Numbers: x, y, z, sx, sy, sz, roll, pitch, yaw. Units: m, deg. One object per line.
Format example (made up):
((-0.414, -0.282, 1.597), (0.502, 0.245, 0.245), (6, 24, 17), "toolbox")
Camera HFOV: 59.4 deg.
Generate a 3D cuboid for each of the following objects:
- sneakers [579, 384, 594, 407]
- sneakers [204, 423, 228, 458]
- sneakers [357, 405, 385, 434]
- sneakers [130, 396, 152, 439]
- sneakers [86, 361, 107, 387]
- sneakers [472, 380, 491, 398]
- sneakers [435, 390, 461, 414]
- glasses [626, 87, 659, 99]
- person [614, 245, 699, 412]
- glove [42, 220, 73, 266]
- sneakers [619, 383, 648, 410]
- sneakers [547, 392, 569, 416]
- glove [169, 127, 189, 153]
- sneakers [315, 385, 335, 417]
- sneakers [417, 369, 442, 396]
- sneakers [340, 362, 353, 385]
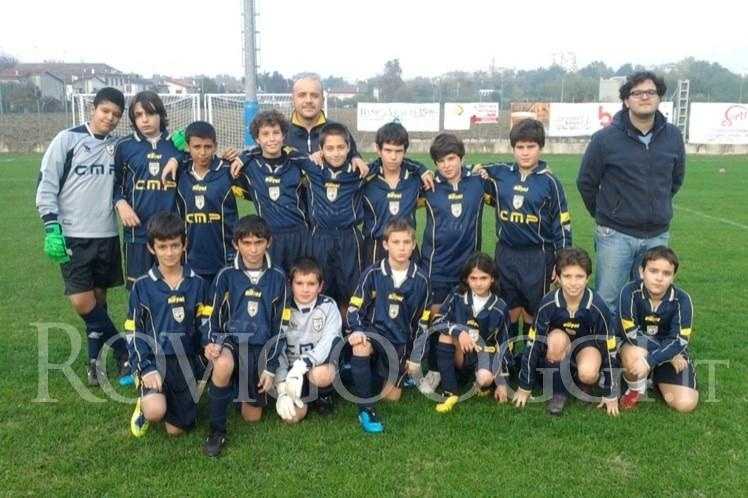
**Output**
((1.935, 1.305, 5.967), (0.152, 0.158, 0.132), (-2, 14, -4), "sneakers")
((-1.308, 1.555, 5.407), (0.160, 0.193, 0.225), (0, 14, 4), "sneakers")
((-0.035, 1.469, 5.643), (0.121, 0.116, 0.254), (-1, 2, -23), "sneakers")
((-1.971, 1.411, 5.565), (0.127, 0.148, 0.371), (16, 25, -28), "sneakers")
((-2.640, 1.185, 6.225), (0.108, 0.136, 0.290), (1, 4, -30), "sneakers")
((1.021, 1.271, 6.060), (0.189, 0.174, 0.118), (-6, 15, -18), "sneakers")
((0.647, 1.379, 5.897), (0.117, 0.081, 0.216), (25, 53, 34), "sneakers")
((2.492, -1.439, 6.082), (0.248, 0.078, 0.106), (4, 15, 17), "glasses")
((2.539, 0.702, 5.855), (0.727, 1.370, 0.525), (4, 15, 20), "person")
((-2.965, -0.052, 6.161), (0.254, 0.353, 0.163), (2, 3, 2), "glove")
((2.320, 1.266, 5.905), (0.196, 0.257, 0.259), (7, 16, 29), "sneakers")
((1.618, 1.368, 5.853), (0.147, 0.137, 0.176), (3, 15, 15), "sneakers")
((-1.909, -1.089, 6.489), (0.225, 0.230, 0.097), (7, -21, -9), "glove")
((-0.452, 1.340, 5.858), (0.169, 0.211, 0.175), (-4, 15, -10), "sneakers")
((0.522, 1.247, 6.174), (0.150, 0.102, 0.243), (4, 18, 37), "sneakers")
((-0.273, 1.155, 6.229), (0.122, 0.255, 0.287), (-2, 14, -4), "sneakers")
